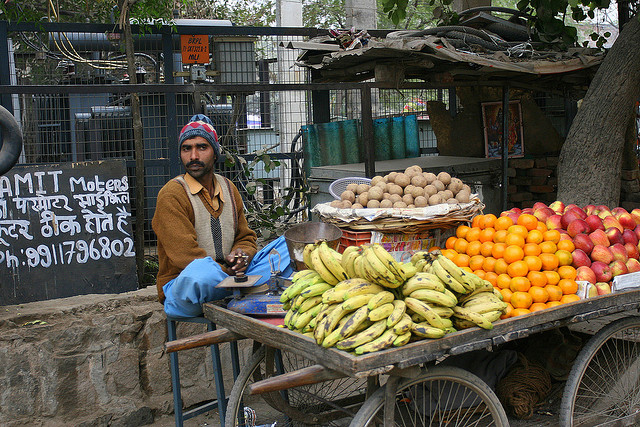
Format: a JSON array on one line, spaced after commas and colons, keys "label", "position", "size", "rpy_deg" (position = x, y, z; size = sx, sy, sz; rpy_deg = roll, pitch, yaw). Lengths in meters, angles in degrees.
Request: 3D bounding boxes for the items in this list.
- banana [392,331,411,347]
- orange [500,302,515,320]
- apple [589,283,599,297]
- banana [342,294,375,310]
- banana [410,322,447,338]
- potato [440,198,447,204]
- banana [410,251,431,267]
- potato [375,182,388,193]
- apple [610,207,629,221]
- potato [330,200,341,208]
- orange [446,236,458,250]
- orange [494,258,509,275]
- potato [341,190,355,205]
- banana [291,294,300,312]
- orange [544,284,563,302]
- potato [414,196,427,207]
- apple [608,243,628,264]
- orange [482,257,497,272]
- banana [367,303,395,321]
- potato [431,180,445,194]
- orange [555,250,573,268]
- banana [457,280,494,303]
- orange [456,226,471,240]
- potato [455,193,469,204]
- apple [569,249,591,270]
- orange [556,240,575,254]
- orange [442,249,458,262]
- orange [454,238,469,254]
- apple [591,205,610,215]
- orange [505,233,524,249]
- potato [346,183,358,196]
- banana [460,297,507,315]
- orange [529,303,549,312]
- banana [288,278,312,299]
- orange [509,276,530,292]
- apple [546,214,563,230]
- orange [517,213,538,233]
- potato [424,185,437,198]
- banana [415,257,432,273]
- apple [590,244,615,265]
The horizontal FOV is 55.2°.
[{"label": "banana", "position": [0.585, 0.908, 4.398], "size": [0.064, 0.054, 0.174], "rpy_deg": [-22, 15, 39]}, {"label": "orange", "position": [1.519, 0.788, 4.963], "size": [0.132, 0.123, 0.128], "rpy_deg": [-1, 4, 4]}, {"label": "apple", "position": [2.292, 0.652, 5.157], "size": [0.095, 0.110, 0.095], "rpy_deg": [2, 1, 22]}, {"label": "banana", "position": [0.268, 0.647, 4.511], "size": [0.266, 0.076, 0.089], "rpy_deg": [-11, 49, -27]}, {"label": "banana", "position": [0.776, 0.859, 4.506], "size": [0.322, 0.105, 0.091], "rpy_deg": [7, -34, 4]}, {"label": "potato", "position": [1.141, -0.099, 5.673], "size": [0.037, 0.035, 0.032], "rpy_deg": [2, 1, 3]}, {"label": "banana", "position": [0.783, 0.359, 4.811], "size": [0.096, 0.065, 0.119], "rpy_deg": [-18, -8, 11]}, {"label": "potato", "position": [0.597, -0.235, 5.866], "size": [0.100, 0.117, 0.099], "rpy_deg": [1, 12, 16]}, {"label": "apple", "position": [2.891, 0.018, 5.933], "size": [0.139, 0.135, 0.134], "rpy_deg": [-18, -2, -8]}, {"label": "potato", "position": [0.147, -0.077, 5.835], "size": [0.082, 0.062, 0.060], "rpy_deg": [-12, 12, -7]}, {"label": "orange", "position": [1.175, 0.275, 5.526], "size": [0.099, 0.114, 0.097], "rpy_deg": [7, -20, -11]}, {"label": "orange", "position": [1.543, 0.459, 5.226], "size": [0.113, 0.130, 0.112], "rpy_deg": [6, -8, -33]}, {"label": "potato", "position": [0.269, -0.149, 5.878], "size": [0.121, 0.139, 0.122], "rpy_deg": [1, 1, -3]}, {"label": "banana", "position": [-0.193, 0.701, 4.751], "size": [0.044, 0.141, 0.040], "rpy_deg": [2, -30, 25]}, {"label": "orange", "position": [1.949, 0.664, 5.148], "size": [0.144, 0.102, 0.107], "rpy_deg": [8, -2, -2]}, {"label": "potato", "position": [0.915, -0.095, 5.647], "size": [0.092, 0.090, 0.103], "rpy_deg": [-21, 7, -15]}, {"label": "apple", "position": [2.620, 0.349, 5.481], "size": [0.164, 0.194, 0.162], "rpy_deg": [-10, 10, 17]}, {"label": "orange", "position": [1.447, 0.442, 5.301], "size": [0.116, 0.129, 0.109], "rpy_deg": [6, 4, -16]}, {"label": "banana", "position": [0.436, 0.721, 4.483], "size": [0.246, 0.078, 0.089], "rpy_deg": [-17, -9, -36]}, {"label": "potato", "position": [1.125, -0.245, 5.857], "size": [0.107, 0.060, 0.106], "rpy_deg": [1, 30, -1]}, {"label": "orange", "position": [2.098, 0.401, 5.261], "size": [0.138, 0.163, 0.131], "rpy_deg": [4, -2, -42]}, {"label": "banana", "position": [1.177, 0.605, 4.698], "size": [0.295, 0.093, 0.059], "rpy_deg": [-23, 29, -18]}, {"label": "orange", "position": [1.277, 0.175, 5.547], "size": [0.109, 0.123, 0.105], "rpy_deg": [25, -37, 7]}, {"label": "potato", "position": [1.331, -0.131, 5.783], "size": [0.102, 0.098, 0.095], "rpy_deg": [-1, 1, 6]}, {"label": "apple", "position": [2.240, 0.402, 5.295], "size": [0.179, 0.155, 0.157], "rpy_deg": [1, -15, 2]}, {"label": "orange", "position": [2.131, 0.304, 5.317], "size": [0.133, 0.104, 0.116], "rpy_deg": [3, -4, 7]}, {"label": "orange", "position": [1.149, 0.378, 5.425], "size": [0.100, 0.097, 0.098], "rpy_deg": [0, 4, 5]}, {"label": "orange", "position": [1.250, 0.297, 5.445], "size": [0.121, 0.136, 0.116], "rpy_deg": [-3, -2, 11]}, {"label": "apple", "position": [2.689, -0.040, 5.871], "size": [0.125, 0.129, 0.124], "rpy_deg": [8, 11, 17]}, {"label": "orange", "position": [1.675, 0.236, 5.278], "size": [0.133, 0.116, 0.147], "rpy_deg": [3, 6, -45]}, {"label": "potato", "position": [0.324, -0.217, 5.984], "size": [0.112, 0.129, 0.111], "rpy_deg": [0, 8, 10]}, {"label": "banana", "position": [1.190, 0.706, 4.731], "size": [0.472, 0.158, 0.124], "rpy_deg": [-1, 0, -7]}, {"label": "orange", "position": [1.796, 0.764, 5.015], "size": [0.108, 0.077, 0.094], "rpy_deg": [3, 6, -6]}, {"label": "banana", "position": [-0.125, 0.585, 4.758], "size": [0.266, 0.079, 0.078], "rpy_deg": [-30, 3, -21]}, {"label": "orange", "position": [1.657, 0.599, 5.133], "size": [0.146, 0.103, 0.105], "rpy_deg": [1, -28, -9]}, {"label": "apple", "position": [2.114, 0.078, 5.548], "size": [0.125, 0.147, 0.126], "rpy_deg": [12, -27, 40]}, {"label": "orange", "position": [1.821, 0.092, 5.395], "size": [0.148, 0.139, 0.145], "rpy_deg": [-1, 8, 6]}, {"label": "potato", "position": [1.046, -0.198, 5.808], "size": [0.108, 0.062, 0.105], "rpy_deg": [1, 13, 1]}, {"label": "banana", "position": [0.788, 0.402, 4.762], "size": [0.076, 0.048, 0.191], "rpy_deg": [16, -34, -30]}, {"label": "apple", "position": [2.466, 0.366, 5.360], "size": [0.189, 0.160, 0.161], "rpy_deg": [7, 30, 28]}]
